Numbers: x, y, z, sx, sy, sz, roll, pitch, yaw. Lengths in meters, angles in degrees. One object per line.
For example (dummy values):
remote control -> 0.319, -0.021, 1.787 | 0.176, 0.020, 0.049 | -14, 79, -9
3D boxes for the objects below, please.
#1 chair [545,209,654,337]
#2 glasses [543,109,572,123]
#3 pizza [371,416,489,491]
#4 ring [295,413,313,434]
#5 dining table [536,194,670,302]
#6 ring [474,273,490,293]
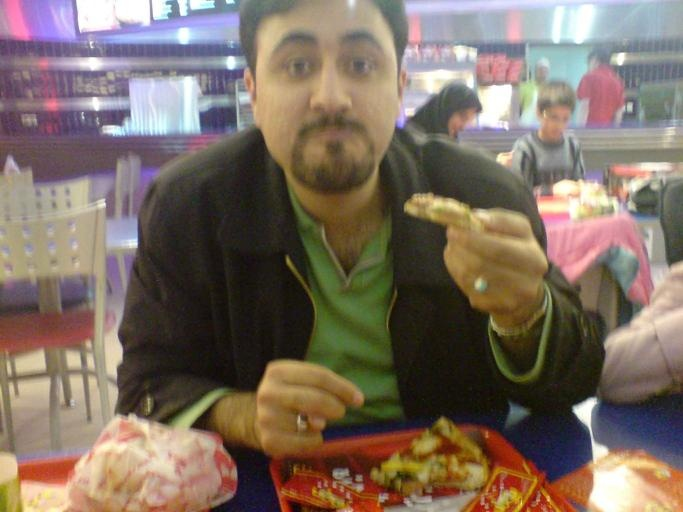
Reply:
chair -> 0.953, 0.070, 2.124 | 0.358, 0.384, 0.402 | 5, 0, -20
glasses -> 0.516, -0.334, 1.356 | 0.039, 0.022, 0.052 | 0, -13, 2
pizza -> 0.150, 0.332, 0.921 | 0.108, 0.038, 0.108 | -26, 19, -16
ring -> -0.067, 0.293, 0.998 | 0.024, 0.027, 0.026 | 1, -5, 0
dining table -> 0.867, 0.019, 2.160 | 0.516, 0.292, 0.693 | 0, 2, 12
ring -> 0.256, 0.051, 1.040 | 0.025, 0.030, 0.008 | -1, 12, 14
